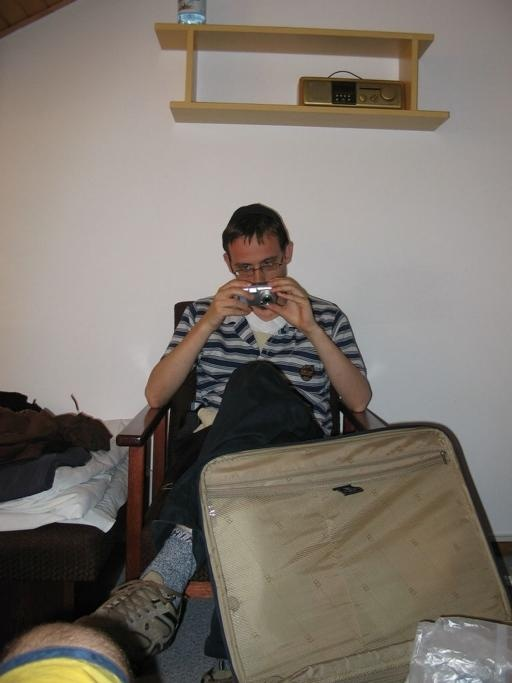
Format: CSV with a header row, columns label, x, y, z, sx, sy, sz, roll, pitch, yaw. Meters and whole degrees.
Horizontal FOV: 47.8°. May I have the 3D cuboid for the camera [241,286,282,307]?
label,x,y,z,sx,sy,sz,roll,pitch,yaw
camera,0.010,-0.115,1.435,0.092,0.060,0.047,-1,39,2

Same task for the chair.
label,x,y,z,sx,sy,sz,roll,pitch,yaw
chair,0.023,0.168,1.365,0.498,0.534,0.652,0,11,1

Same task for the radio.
label,x,y,z,sx,sy,sz,roll,pitch,yaw
radio,0.275,-0.708,1.651,0.294,0.088,0.040,0,-4,0
